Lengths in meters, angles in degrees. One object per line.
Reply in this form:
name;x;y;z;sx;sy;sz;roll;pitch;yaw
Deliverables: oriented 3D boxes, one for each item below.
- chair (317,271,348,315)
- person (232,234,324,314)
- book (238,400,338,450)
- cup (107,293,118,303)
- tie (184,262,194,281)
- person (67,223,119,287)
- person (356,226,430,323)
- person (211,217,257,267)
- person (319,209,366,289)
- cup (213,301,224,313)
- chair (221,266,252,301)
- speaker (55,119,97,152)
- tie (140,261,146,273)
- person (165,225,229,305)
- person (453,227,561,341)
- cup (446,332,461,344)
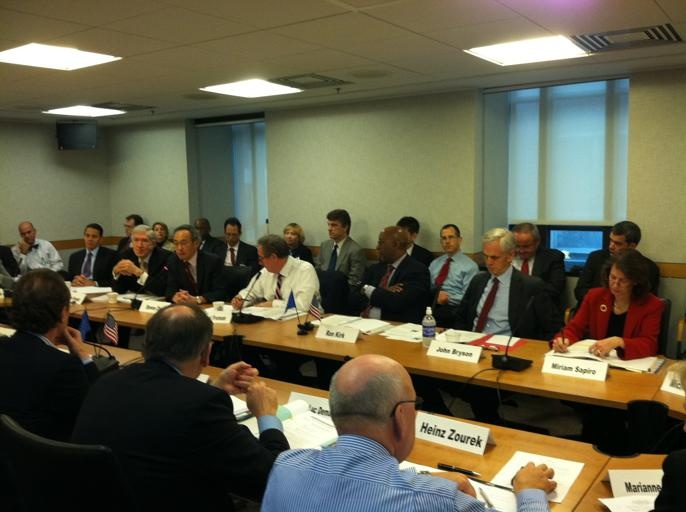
chair;-0.075;0.307;4.649;0.321;0.411;0.326;1;0;23
person;-0.576;0.152;4.725;0.840;0.622;0.942;-10;8;-31
book;-0.225;0.682;2.175;0.345;0.078;0.312;-4;7;-40
cup;-2.118;0.379;4.985;0.081;0.081;0.094;1;-6;0
tie;-1.471;0.144;5.179;0.056;0.229;0.038;-25;-16;25
person;-2.969;0.036;6.370;0.597;0.761;0.496;3;1;0
person;0.416;0.148;4.471;0.581;0.773;0.465;1;7;15
person;-1.472;-0.062;7.202;0.678;0.817;0.509;-6;18;-16
person;-0.074;-0.069;6.700;0.750;0.942;0.623;7;10;36
cup;-0.999;0.401;4.353;0.079;0.054;0.076;0;-4;0
chair;-1.031;0.263;5.253;0.291;0.387;0.336;2;-1;24
speaker;-3.997;-1.768;8.198;0.728;0.476;0.376;0;11;-10
tie;-2.017;0.106;5.492;0.074;0.097;0.025;-6;3;22
person;-1.427;0.083;5.251;0.596;0.750;0.682;-1;4;22
person;1.194;0.249;3.999;0.498;0.828;0.896;-1;2;-39
cup;0.702;0.521;3.442;0.063;0.053;0.075;0;-2;-26
